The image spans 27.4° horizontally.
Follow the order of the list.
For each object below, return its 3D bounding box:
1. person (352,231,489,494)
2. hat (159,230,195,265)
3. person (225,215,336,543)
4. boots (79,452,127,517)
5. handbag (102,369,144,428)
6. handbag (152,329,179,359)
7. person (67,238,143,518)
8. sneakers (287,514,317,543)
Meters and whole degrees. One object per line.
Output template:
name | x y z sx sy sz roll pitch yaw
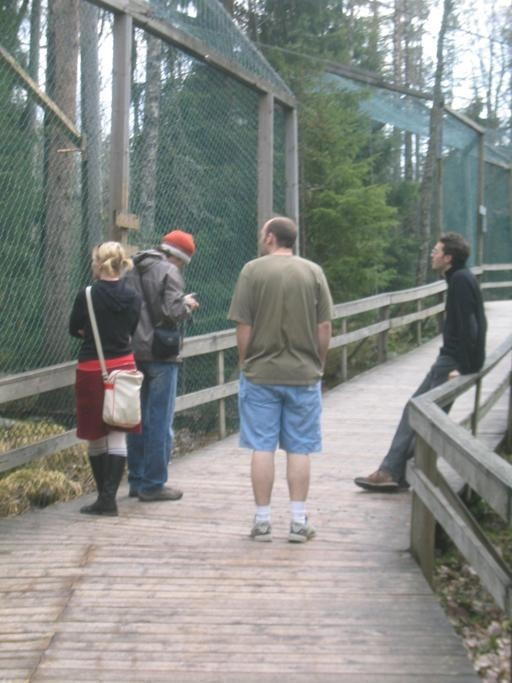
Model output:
person | 0.996 0.117 6.044 0.693 1.485 0.708 2 6 7
hat | -0.430 -0.527 5.805 0.179 0.186 0.138 34 -4 -14
person | 0.114 0.180 5.065 0.493 1.550 0.315 1 5 3
boots | -0.767 0.731 5.360 0.279 0.422 0.190 4 1 4
handbag | -0.675 0.278 5.203 0.213 0.351 0.120 5 -7 -39
handbag | -0.496 0.006 5.619 0.044 0.148 0.132 4 3 37
person | -0.767 0.201 5.312 0.356 1.404 0.277 0 5 -9
sneakers | 0.213 0.912 5.073 0.057 0.100 0.189 0 0 18
